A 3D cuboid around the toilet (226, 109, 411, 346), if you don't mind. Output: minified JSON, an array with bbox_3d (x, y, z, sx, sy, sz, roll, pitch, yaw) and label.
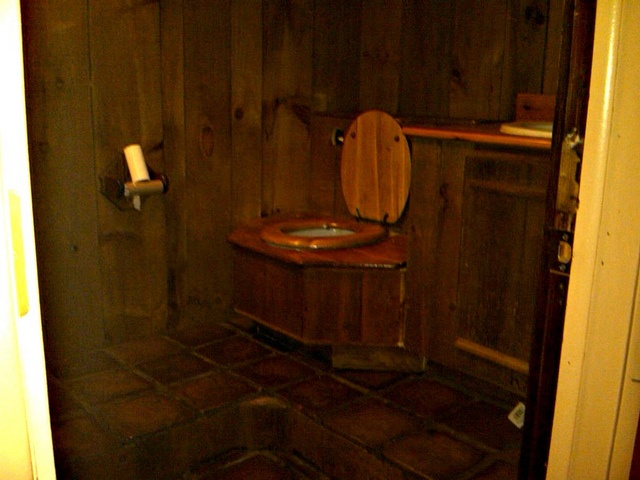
[{"bbox_3d":[0.026,-0.118,2.425,0.612,0.932,0.941,-8,15,-41],"label":"toilet"}]

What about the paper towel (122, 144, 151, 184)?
[{"bbox_3d":[-0.718,-0.299,2.253,0.086,0.144,0.067,-5,12,-17],"label":"paper towel"}]
